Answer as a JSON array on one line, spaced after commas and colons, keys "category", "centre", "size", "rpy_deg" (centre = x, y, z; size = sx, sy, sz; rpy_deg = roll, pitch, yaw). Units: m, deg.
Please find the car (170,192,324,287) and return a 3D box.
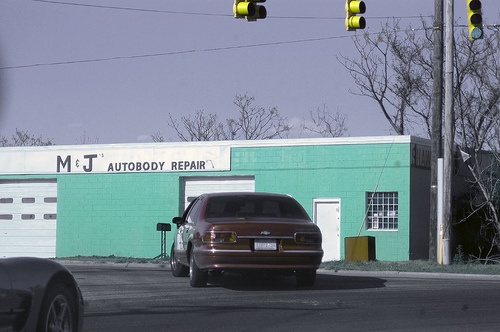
[{"category": "car", "centre": [-0.131, 1.809, 19.809], "size": [4.069, 2.580, 2.524], "rpy_deg": [-5, -12, 12]}]
